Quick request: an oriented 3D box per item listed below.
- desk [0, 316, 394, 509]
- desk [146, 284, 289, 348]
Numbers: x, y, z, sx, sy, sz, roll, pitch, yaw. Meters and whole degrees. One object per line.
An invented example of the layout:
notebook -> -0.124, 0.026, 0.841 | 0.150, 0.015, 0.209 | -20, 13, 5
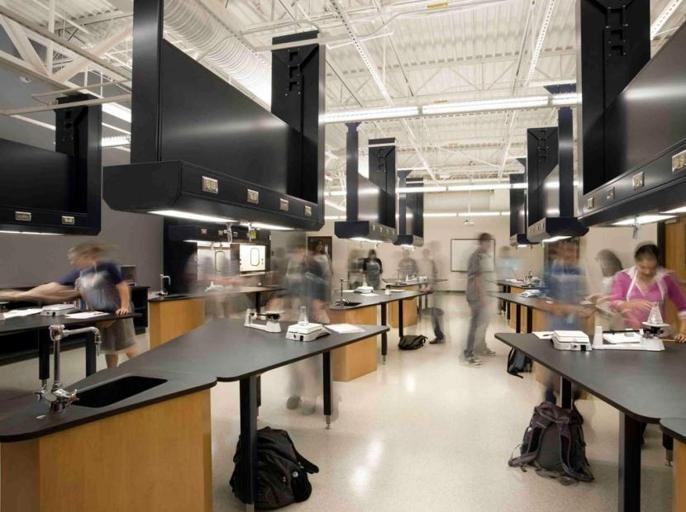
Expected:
desk -> -1.155, 1.340, 4.194 | 1.311, 1.211, 2.833 | 1, 2, 42
desk -> -2.192, 0.905, 8.651 | 0.370, 0.586, 2.268 | -9, -3, 34
